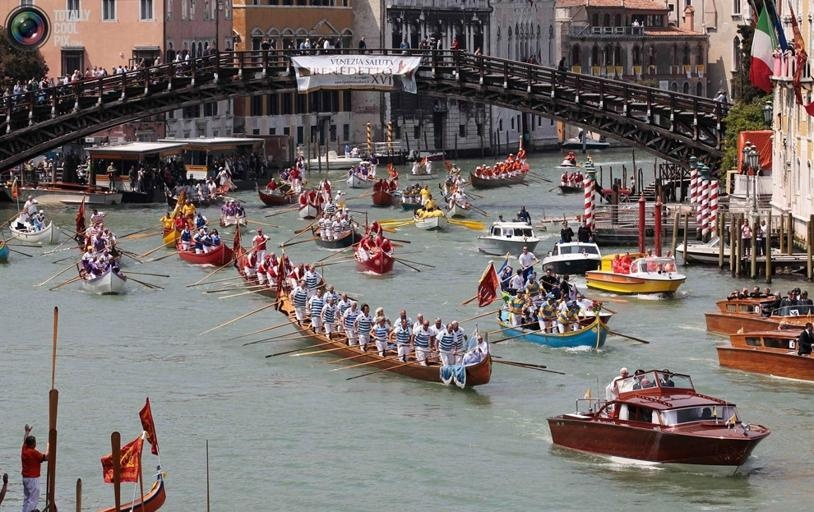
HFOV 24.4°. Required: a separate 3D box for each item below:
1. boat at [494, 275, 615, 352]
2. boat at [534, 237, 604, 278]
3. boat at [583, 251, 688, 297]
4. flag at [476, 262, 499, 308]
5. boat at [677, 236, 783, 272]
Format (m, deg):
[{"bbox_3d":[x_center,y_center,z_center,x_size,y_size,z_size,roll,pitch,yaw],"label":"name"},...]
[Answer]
[{"bbox_3d":[7.622,3.563,99.014,5.781,2.260,2.780,9,14,43],"label":"boat"},{"bbox_3d":[9.613,0.103,112.745,2.517,1.751,5.109,-10,2,-21],"label":"boat"},{"bbox_3d":[13.141,1.214,107.278,2.580,1.907,4.885,-4,5,-39],"label":"boat"},{"bbox_3d":[4.376,1.546,100.698,1.060,2.908,0.249,-1,31,-4],"label":"flag"},{"bbox_3d":[19.293,0.009,112.462,6.822,1.855,1.945,4,2,20],"label":"boat"}]
